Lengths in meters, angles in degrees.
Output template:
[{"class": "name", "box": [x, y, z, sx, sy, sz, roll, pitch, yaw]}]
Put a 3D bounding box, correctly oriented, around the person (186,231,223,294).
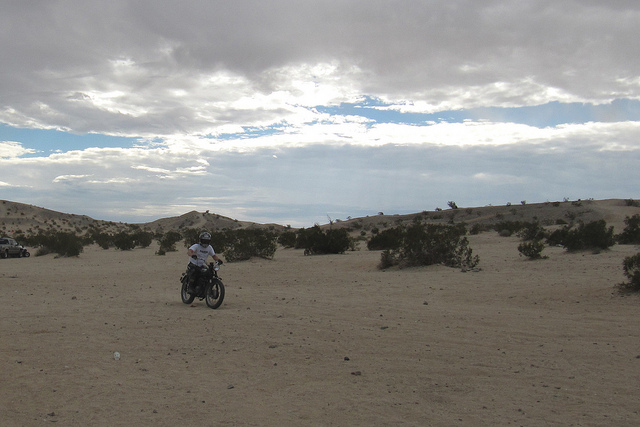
[{"class": "person", "box": [-4.001, 1.674, 17.992, 0.915, 2.251, 0.997, 0, 12, -4]}]
